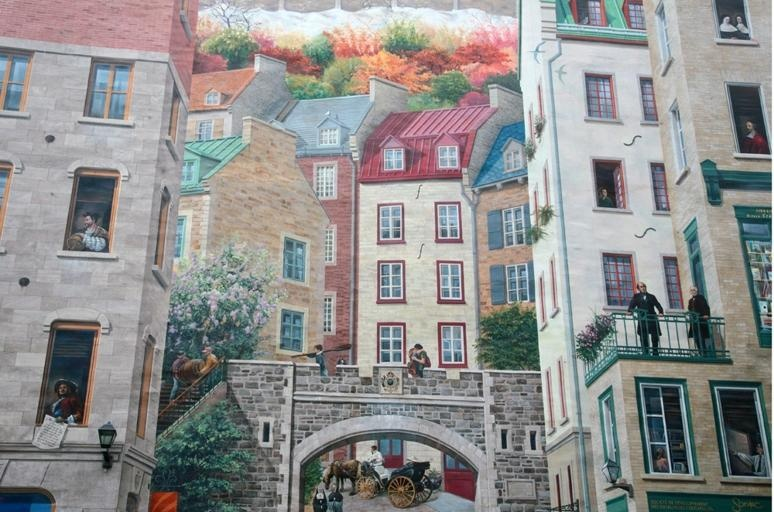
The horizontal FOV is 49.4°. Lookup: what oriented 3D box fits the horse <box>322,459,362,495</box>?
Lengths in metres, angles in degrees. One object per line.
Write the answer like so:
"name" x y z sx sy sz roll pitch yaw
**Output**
"horse" -1.926 9.333 35.952 1.843 1.293 0.501 -5 -12 16
